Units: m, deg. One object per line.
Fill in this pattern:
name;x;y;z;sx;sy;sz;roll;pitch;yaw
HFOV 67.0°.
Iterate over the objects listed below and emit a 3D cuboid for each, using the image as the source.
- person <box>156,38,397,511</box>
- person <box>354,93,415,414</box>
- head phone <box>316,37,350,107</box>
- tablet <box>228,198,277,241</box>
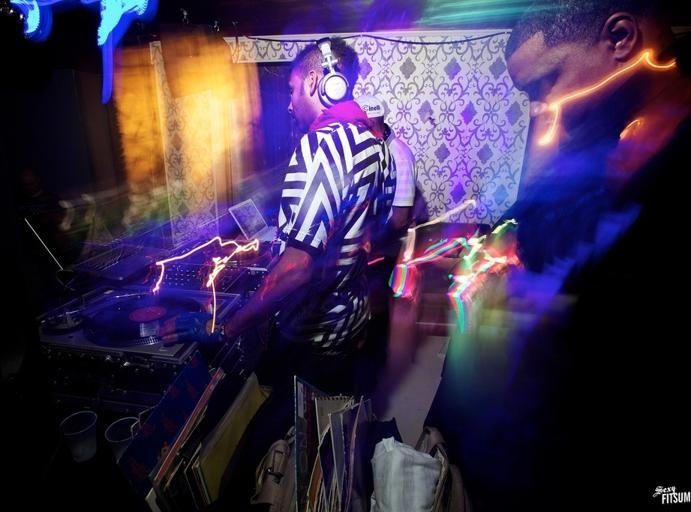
person;-0.154;-0.075;1.988;0.468;1.485;0.761;14;13;36
person;0.113;-0.055;2.669;0.289;1.366;0.428;5;17;7
head phone;-0.066;-0.673;1.980;0.101;0.255;0.251;-13;3;-7
tablet;-0.554;-0.201;3.115;0.191;0.251;0.357;8;18;17
